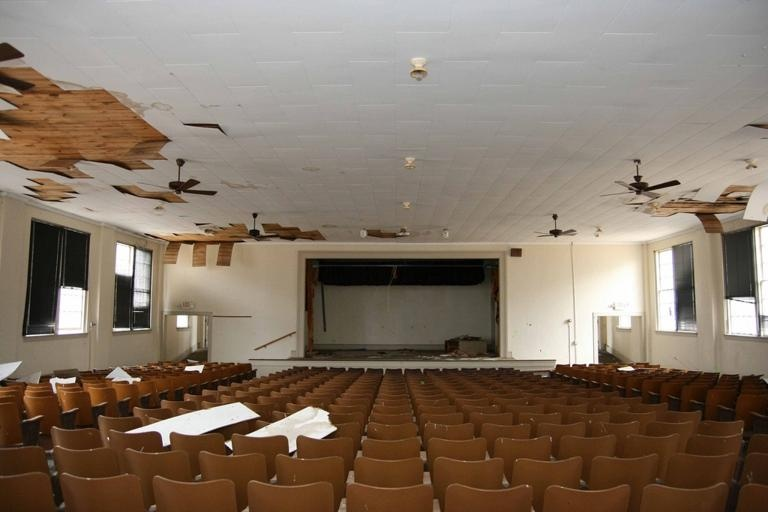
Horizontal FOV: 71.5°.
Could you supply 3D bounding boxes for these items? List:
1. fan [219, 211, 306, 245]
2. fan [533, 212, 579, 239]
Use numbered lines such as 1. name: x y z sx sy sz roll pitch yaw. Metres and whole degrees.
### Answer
1. fan: -4.622 -0.702 16.729 2.817 0.236 4.781 4 -10 -19
2. fan: 5.918 -0.664 14.518 1.173 0.483 1.166 -1 -1 39
